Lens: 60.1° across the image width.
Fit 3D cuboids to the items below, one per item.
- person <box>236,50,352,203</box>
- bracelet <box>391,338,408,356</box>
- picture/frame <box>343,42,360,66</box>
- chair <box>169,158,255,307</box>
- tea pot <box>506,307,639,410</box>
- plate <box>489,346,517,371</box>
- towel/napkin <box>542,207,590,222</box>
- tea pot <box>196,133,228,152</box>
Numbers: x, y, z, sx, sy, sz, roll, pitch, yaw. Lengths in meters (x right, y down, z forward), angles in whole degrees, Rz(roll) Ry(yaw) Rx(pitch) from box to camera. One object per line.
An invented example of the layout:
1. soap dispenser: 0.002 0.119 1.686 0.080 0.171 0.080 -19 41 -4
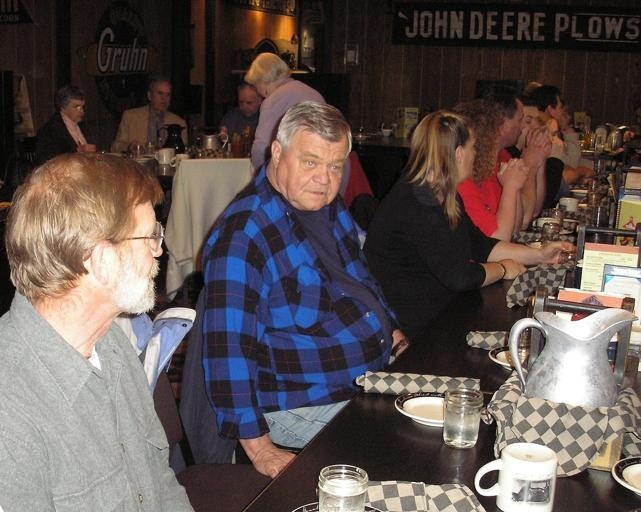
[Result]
1. person: -0.344 -0.938 5.022 0.559 1.685 0.702 14 36 19
2. bracelet: 0.306 0.347 2.124 0.059 0.039 0.116 8 -30 -3
3. picture/frame: 0.500 -3.266 8.978 0.269 0.412 0.295 2 10 10
4. chair: -1.012 -0.334 4.862 0.905 1.298 0.850 5 4 -17
5. tea pot: 0.497 0.195 1.176 0.226 0.243 0.171 0 7 4
6. plate: 0.499 0.279 1.523 0.087 0.023 0.092 2 31 5
7. towel/napkin: 1.580 -0.264 3.550 0.278 0.115 0.174 2 2 6
8. tea pot: -1.021 -1.077 5.312 0.262 0.279 0.208 3 6 5
